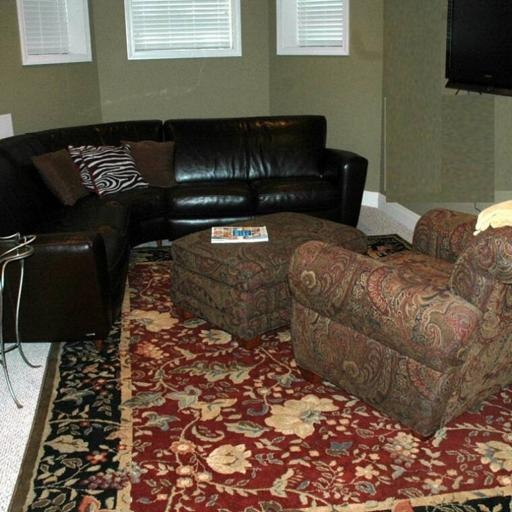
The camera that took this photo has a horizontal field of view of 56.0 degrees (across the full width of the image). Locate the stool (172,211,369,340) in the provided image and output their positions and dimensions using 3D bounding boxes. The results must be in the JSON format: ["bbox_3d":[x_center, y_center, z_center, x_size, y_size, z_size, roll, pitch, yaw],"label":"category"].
[{"bbox_3d":[-0.043,-0.056,2.529,0.885,0.425,0.652,-18,26,-40],"label":"stool"}]
